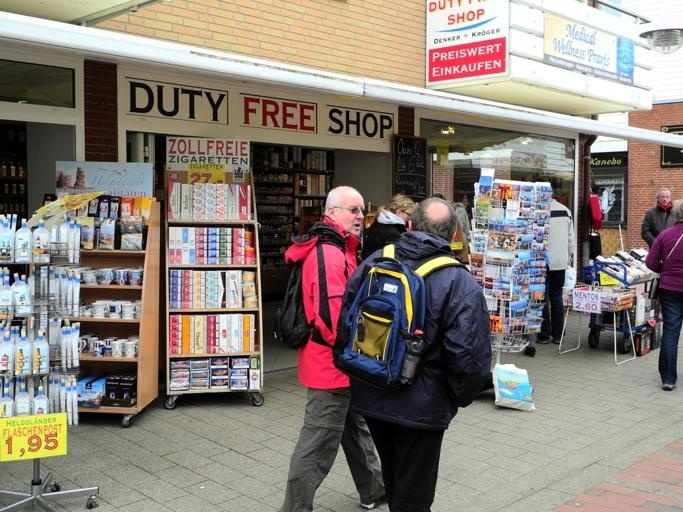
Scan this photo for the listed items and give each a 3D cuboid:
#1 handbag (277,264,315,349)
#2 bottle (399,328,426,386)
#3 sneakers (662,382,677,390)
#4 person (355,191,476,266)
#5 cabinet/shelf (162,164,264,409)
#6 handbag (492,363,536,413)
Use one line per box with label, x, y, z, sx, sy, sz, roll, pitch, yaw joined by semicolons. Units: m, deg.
handbag;-0.340;0.364;4.128;0.206;0.522;0.353;1;3;-34
bottle;0.397;0.555;3.247;0.141;0.306;0.041;0;6;-17
sneakers;4.198;1.684;7.581;0.081;0.082;0.222;-11;-20;44
person;0.613;-0.310;6.347;1.417;0.822;0.926;-2;6;-12
cabinet/shelf;-1.503;0.322;6.813;1.193;2.463;0.764;-2;13;-8
handbag;1.959;1.528;6.885;0.453;0.151;0.531;14;38;-5
